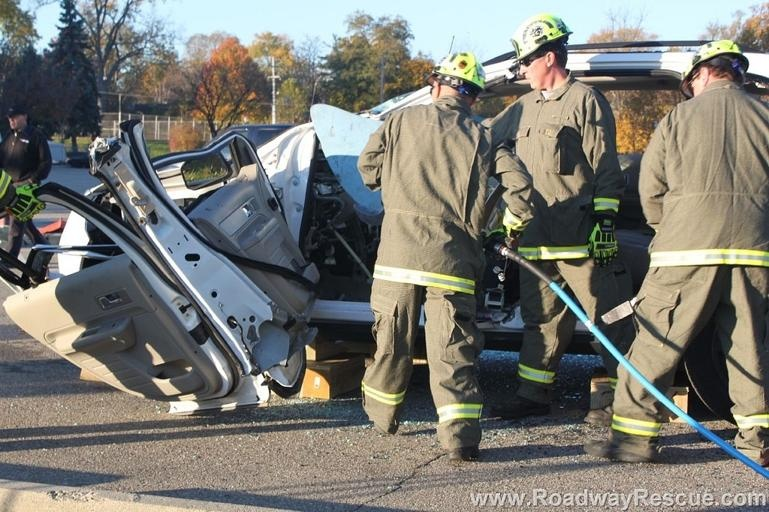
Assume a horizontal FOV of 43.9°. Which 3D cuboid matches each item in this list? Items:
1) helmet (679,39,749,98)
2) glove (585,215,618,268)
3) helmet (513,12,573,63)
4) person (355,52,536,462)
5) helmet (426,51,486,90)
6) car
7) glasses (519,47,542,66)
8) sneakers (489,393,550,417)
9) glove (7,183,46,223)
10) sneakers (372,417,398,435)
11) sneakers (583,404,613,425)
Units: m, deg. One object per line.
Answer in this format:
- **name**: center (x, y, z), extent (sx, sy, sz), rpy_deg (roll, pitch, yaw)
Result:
- **helmet**: center (2.349, -1.341, 6.902), extent (0.433, 0.335, 0.361), rpy_deg (-28, 45, 36)
- **glove**: center (1.595, -0.117, 6.928), extent (0.244, 0.340, 0.105), rpy_deg (2, -2, 0)
- **helmet**: center (1.161, -1.684, 7.270), extent (0.519, 0.298, 0.401), rpy_deg (-17, 13, 0)
- **person**: center (0.375, -0.010, 6.877), extent (1.272, 2.665, 1.101), rpy_deg (-21, 24, -38)
- **helmet**: center (0.544, -1.412, 7.134), extent (0.335, 0.232, 0.443), rpy_deg (16, 2, -28)
- **car**: center (-0.020, -0.358, 7.611), extent (4.923, 2.152, 3.107), rpy_deg (0, 11, 3)
- **glasses**: center (1.103, -1.497, 7.202), extent (0.149, 0.075, 0.107), rpy_deg (-14, -1, 8)
- **sneakers**: center (1.062, 1.177, 7.463), extent (0.457, 0.218, 0.184), rpy_deg (2, 3, -4)
- **glove**: center (-2.514, -0.371, 6.715), extent (0.284, 0.198, 0.127), rpy_deg (-38, 15, -15)
- **sneakers**: center (0.019, 1.237, 6.999), extent (0.143, 0.123, 0.148), rpy_deg (1, -30, 4)
- **sneakers**: center (1.643, 1.222, 7.312), extent (0.219, 0.154, 0.110), rpy_deg (3, -1, 18)
